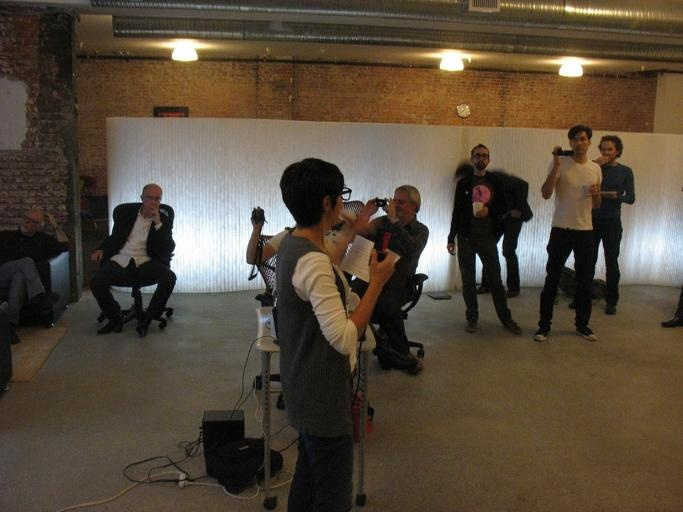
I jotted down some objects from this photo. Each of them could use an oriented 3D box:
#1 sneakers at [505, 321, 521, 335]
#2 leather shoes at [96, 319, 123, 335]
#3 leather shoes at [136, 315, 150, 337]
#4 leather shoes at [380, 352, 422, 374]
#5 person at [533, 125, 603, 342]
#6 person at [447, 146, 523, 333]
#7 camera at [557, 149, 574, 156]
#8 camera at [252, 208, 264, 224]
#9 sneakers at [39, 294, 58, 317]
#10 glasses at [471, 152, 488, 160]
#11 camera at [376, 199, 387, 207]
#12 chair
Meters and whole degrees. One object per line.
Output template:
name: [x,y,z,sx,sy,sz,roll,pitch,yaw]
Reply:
sneakers: [1.800,0.748,5.574,0.080,0.083,0.204,-6,11,-23]
leather shoes: [-2.336,0.721,5.468,0.317,0.140,0.108,1,-1,-34]
leather shoes: [-2.000,0.696,5.387,0.113,0.162,0.222,-1,14,-8]
leather shoes: [0.515,0.932,4.641,0.417,0.195,0.155,-4,1,26]
person: [2.253,-0.215,5.292,0.635,2.101,0.380,-1,13,-7]
person: [1.493,-0.175,5.560,0.734,1.911,0.465,5,14,19]
camera: [2.137,-0.979,5.075,0.075,0.036,0.146,3,4,34]
camera: [-0.518,-0.242,3.313,0.071,0.106,0.095,-4,-4,-16]
sneakers: [-2.976,0.492,5.368,0.093,0.201,0.282,1,-27,-30]
glasses: [1.439,-1.038,5.553,0.166,0.067,0.111,5,14,17]
camera: [0.238,-0.315,3.167,0.063,0.061,0.015,1,7,-18]
chair: [-2.172,0.002,5.568,0.820,1.432,0.928,-2,13,-13]
